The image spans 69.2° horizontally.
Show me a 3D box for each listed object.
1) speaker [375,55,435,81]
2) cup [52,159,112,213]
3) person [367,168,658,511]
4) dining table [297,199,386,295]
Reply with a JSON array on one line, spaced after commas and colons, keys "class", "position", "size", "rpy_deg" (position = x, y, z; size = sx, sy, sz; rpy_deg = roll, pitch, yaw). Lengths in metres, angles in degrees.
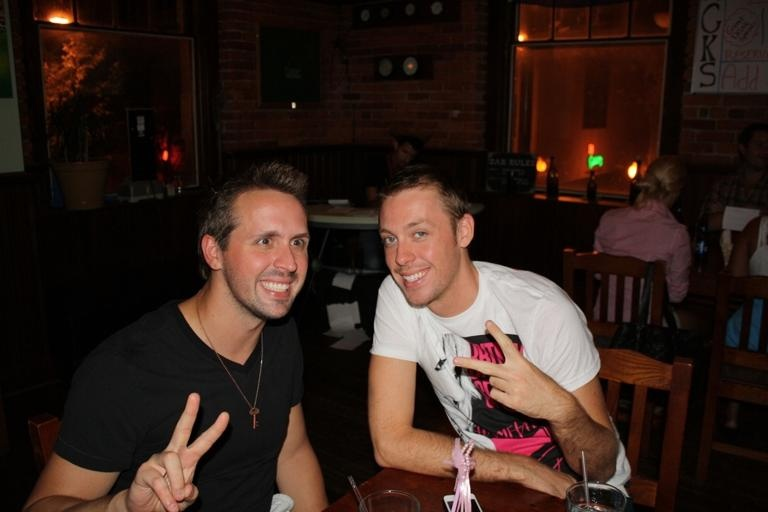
[{"class": "speaker", "position": [0.274, -2.322, 6.882], "size": [0.807, 0.355, 0.197], "rpy_deg": [6, 8, 27]}, {"class": "cup", "position": [-2.620, -0.592, 4.870], "size": [0.401, 0.334, 0.409], "rpy_deg": [-1, -1, 0]}, {"class": "person", "position": [0.426, 0.291, 2.249], "size": [1.050, 1.242, 0.714], "rpy_deg": [5, 15, 22]}, {"class": "dining table", "position": [-0.413, -0.115, 5.634], "size": [0.881, 0.677, 0.890], "rpy_deg": [2, 3, 0]}]
